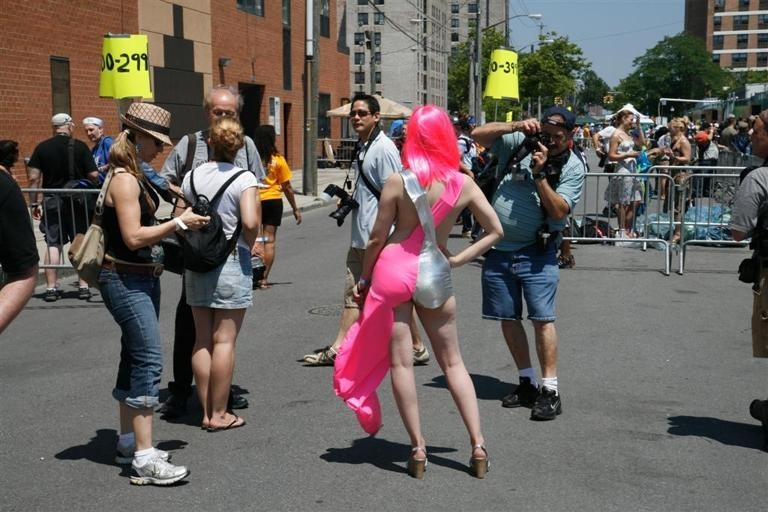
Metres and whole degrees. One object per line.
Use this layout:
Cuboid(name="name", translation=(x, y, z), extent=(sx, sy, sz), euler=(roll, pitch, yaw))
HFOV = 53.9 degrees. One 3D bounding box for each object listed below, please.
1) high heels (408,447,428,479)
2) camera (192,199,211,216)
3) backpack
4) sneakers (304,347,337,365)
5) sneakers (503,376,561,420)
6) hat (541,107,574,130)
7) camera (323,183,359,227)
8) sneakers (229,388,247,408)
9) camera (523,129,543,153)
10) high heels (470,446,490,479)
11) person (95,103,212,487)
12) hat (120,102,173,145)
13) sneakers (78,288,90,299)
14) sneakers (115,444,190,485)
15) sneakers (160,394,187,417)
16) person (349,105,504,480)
Cuboid(name="high heels", translation=(0.257, 1.600, 5.832), extent=(0.107, 0.116, 0.257), euler=(0, 8, 2))
Cuboid(name="camera", translation=(-1.459, -0.382, 6.042), extent=(0.132, 0.100, 0.052), euler=(-29, 4, -6))
Cuboid(name="backpack", translation=(-1.452, -0.329, 6.409), extent=(0.490, 0.792, 0.436), euler=(0, 5, -10))
Cuboid(name="sneakers", translation=(-0.662, 1.078, 8.073), extent=(0.381, 0.215, 0.163), euler=(0, 4, 1))
Cuboid(name="sneakers", translation=(1.349, 1.318, 6.928), extent=(0.495, 0.246, 0.294), euler=(13, 24, 34))
Cuboid(name="hat", translation=(1.573, -1.244, 6.825), extent=(0.341, 0.211, 0.156), euler=(-5, 13, -21))
Cuboid(name="camera", translation=(-0.499, -0.586, 7.636), extent=(0.136, 0.407, 0.549), euler=(-13, -19, 12))
Cuboid(name="sneakers", translation=(-1.392, 1.328, 7.047), extent=(0.235, 0.185, 0.087), euler=(0, 6, 2))
Cuboid(name="camera", translation=(1.323, -0.991, 6.683), extent=(0.132, 0.191, 0.175), euler=(-9, 16, -42))
Cuboid(name="high heels", translation=(0.755, 1.610, 6.005), extent=(0.140, 0.184, 0.411), euler=(-2, 4, 4))
Cuboid(name="person", translation=(-1.867, 0.268, 5.883), extent=(0.660, 2.818, 1.018), euler=(-4, 12, -21))
Cuboid(name="hat", translation=(-1.900, -1.094, 6.146), extent=(0.498, 0.240, 0.449), euler=(18, 8, 18))
Cuboid(name="sneakers", translation=(-4.279, 0.537, 10.829), extent=(0.137, 0.173, 0.146), euler=(-1, -6, -4))
Cuboid(name="sneakers", translation=(-1.817, 1.626, 5.886), extent=(0.586, 0.315, 0.269), euler=(0, 7, 1))
Cuboid(name="sneakers", translation=(-1.908, 1.368, 6.854), extent=(0.117, 0.140, 0.311), euler=(-4, -8, 8))
Cuboid(name="person", translation=(0.239, 0.259, 5.906), extent=(1.221, 2.802, 0.679), euler=(2, 11, 8))
